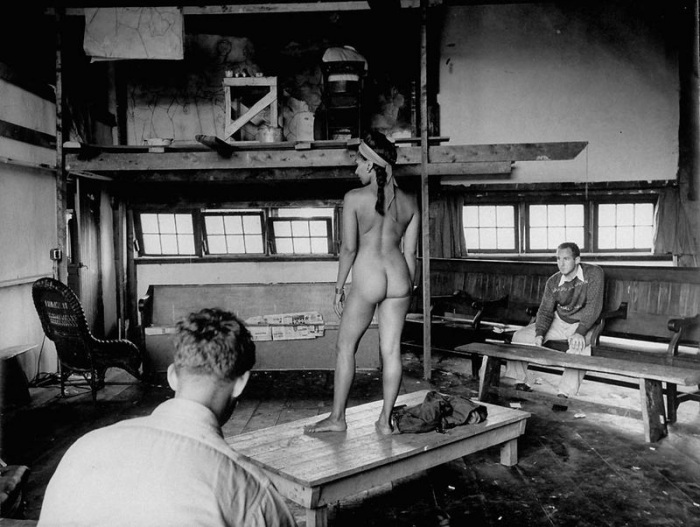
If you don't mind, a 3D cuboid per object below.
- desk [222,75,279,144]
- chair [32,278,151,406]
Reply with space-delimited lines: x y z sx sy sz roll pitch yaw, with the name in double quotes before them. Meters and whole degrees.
"desk" -1.264 -2.031 8.428 0.675 0.821 0.737 -2 11 -9
"chair" -3.062 0.828 7.816 1.119 1.848 1.371 -1 1 31
